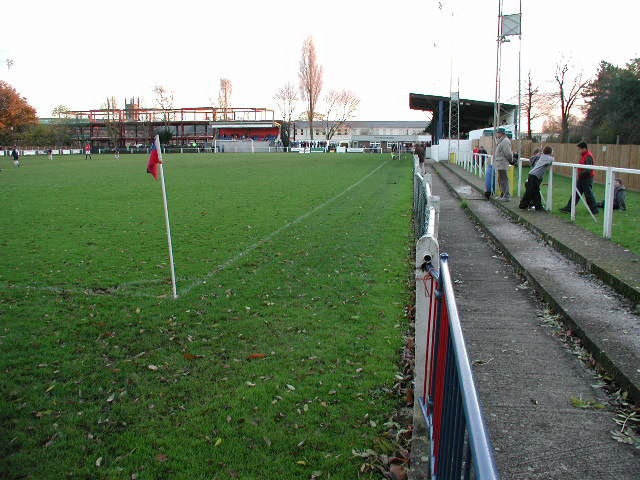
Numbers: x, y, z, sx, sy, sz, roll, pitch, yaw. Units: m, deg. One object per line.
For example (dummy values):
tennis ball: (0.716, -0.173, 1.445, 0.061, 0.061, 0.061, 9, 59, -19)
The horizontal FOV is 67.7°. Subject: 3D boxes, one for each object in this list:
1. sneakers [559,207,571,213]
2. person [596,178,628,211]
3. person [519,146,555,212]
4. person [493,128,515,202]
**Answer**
sneakers: (6.610, -0.823, 12.846, 0.095, 0.149, 0.277, -3, 15, -45)
person: (8.484, -1.292, 13.831, 0.591, 0.897, 0.640, -16, 14, -43)
person: (6.087, -1.768, 13.392, 0.751, 1.753, 1.112, 6, 15, 27)
person: (6.017, -2.521, 15.556, 0.570, 2.309, 0.789, -1, 12, 12)
